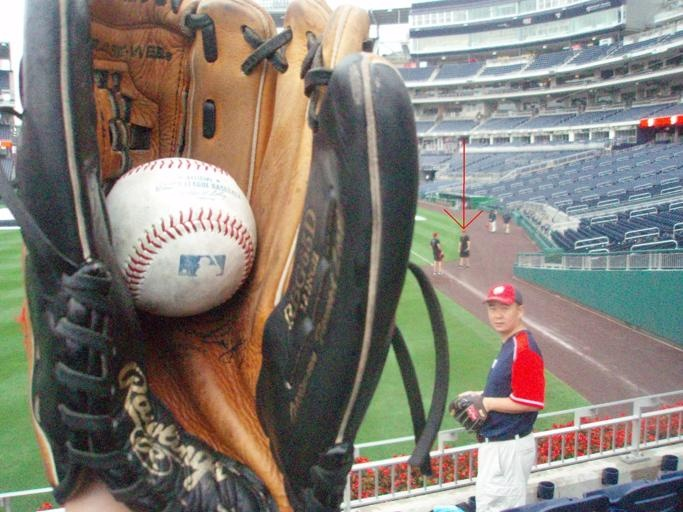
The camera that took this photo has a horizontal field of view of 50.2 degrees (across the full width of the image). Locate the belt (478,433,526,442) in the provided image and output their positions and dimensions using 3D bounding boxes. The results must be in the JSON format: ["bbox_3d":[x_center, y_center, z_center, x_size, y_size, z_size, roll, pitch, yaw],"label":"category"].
[{"bbox_3d":[0.784,0.932,3.767,0.111,0.032,0.119,0,-1,-29],"label":"belt"}]

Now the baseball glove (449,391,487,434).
[{"bbox_3d":[0.641,0.781,3.732,0.152,0.209,0.094,-26,-37,24],"label":"baseball glove"}]
